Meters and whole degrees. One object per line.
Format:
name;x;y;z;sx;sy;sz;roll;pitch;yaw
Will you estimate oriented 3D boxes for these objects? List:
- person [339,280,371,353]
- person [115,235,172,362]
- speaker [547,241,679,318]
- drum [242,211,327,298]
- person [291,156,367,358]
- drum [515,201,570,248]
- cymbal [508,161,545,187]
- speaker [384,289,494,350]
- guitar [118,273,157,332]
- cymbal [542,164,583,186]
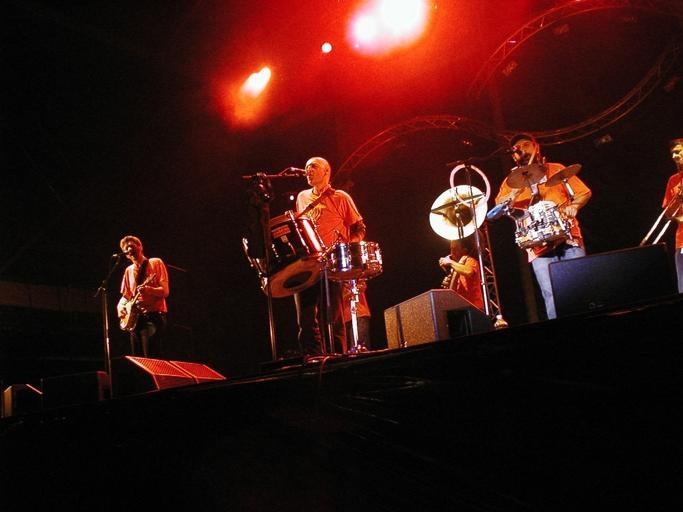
person;0.122;0.512;5.391;0.372;1.002;0.182;13;-34;-25
person;-2.339;0.729;6.404;0.793;1.985;0.538;-18;-17;42
speaker;1.543;0.136;3.087;0.652;0.332;0.104;-8;-22;10
drum;-0.496;-0.001;4.728;0.657;0.837;0.612;0;2;0
person;-0.189;0.104;5.508;0.750;2.152;0.678;0;-1;12
drum;1.847;-0.290;5.070;0.174;0.347;0.492;12;-26;-35
cymbal;1.756;-0.764;5.154;0.249;0.125;0.254;-22;-44;19
speaker;0.609;0.406;3.815;0.590;0.460;0.684;-1;2;-30
guitar;-2.433;0.582;6.375;0.147;0.583;0.629;17;-29;-41
cymbal;2.080;-0.764;5.027;0.233;0.054;0.232;-22;-15;-19
